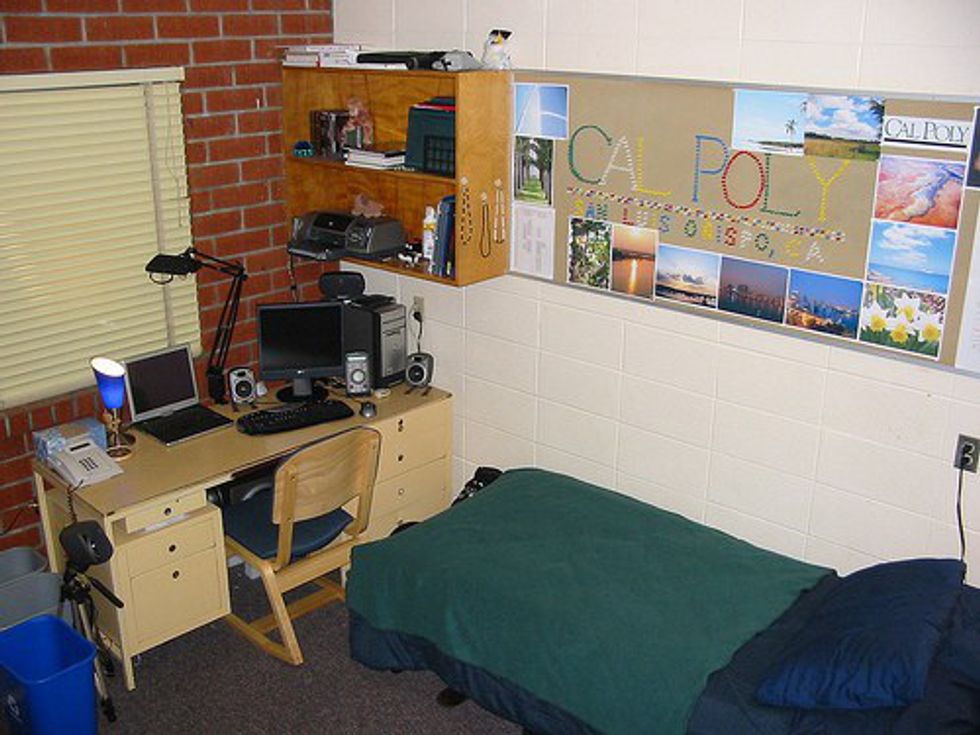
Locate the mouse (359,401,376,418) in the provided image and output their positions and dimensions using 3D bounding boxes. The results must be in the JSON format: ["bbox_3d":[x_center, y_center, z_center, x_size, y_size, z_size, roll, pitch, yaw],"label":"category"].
[{"bbox_3d":[-0.670,0.225,3.943,0.065,0.030,0.096,-1,21,-10],"label":"mouse"}]

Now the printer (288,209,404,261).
[{"bbox_3d":[-0.890,-0.778,4.182,0.637,0.208,0.480,16,32,37],"label":"printer"}]

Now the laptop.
[{"bbox_3d":[-1.587,0.139,3.705,0.422,0.322,0.398,20,23,28],"label":"laptop"}]

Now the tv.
[{"bbox_3d":[-1.069,-0.105,4.068,0.543,0.614,0.241,-2,11,-17],"label":"tv"}]

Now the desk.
[{"bbox_3d":[-1.247,0.820,3.434,0.483,0.593,1.274,18,28,36],"label":"desk"}]

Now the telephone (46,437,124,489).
[{"bbox_3d":[-1.891,0.426,3.363,0.273,0.081,0.206,30,28,22],"label":"telephone"}]

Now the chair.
[{"bbox_3d":[-1.017,0.776,3.656,0.673,1.062,0.787,-11,19,-42],"label":"chair"}]

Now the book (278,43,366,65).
[{"bbox_3d":[-0.906,-1.720,3.973,0.586,0.135,0.159,14,23,35],"label":"book"}]
